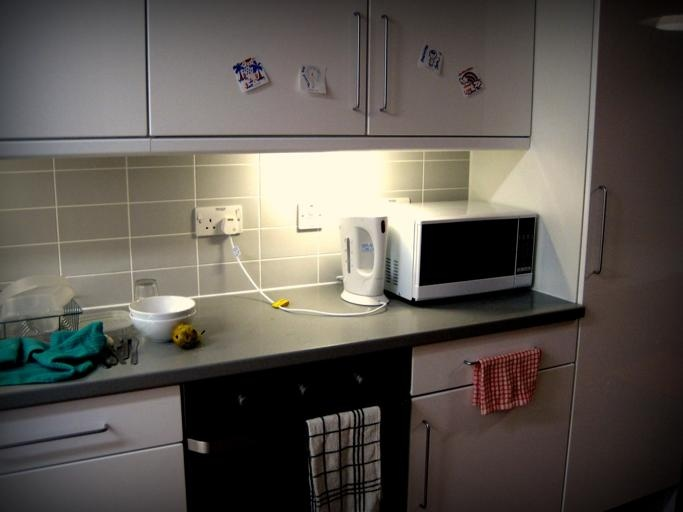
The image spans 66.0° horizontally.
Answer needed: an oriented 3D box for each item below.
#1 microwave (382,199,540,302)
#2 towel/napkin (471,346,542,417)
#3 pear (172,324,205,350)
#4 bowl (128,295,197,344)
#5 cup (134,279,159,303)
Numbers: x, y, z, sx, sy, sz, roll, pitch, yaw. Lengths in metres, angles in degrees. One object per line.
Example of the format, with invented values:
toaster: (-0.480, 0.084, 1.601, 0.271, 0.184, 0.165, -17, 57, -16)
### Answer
microwave: (0.469, -0.014, 2.066, 0.539, 0.359, 0.388, -6, 13, -27)
towel/napkin: (0.600, 0.456, 1.949, 0.237, 0.218, 0.069, -6, 17, -19)
pear: (-0.490, 0.247, 1.696, 0.088, 0.077, 0.070, -1, 20, -11)
bowl: (-0.594, 0.187, 1.755, 0.164, 0.104, 0.164, 3, 10, -1)
cup: (-0.703, 0.122, 1.901, 0.074, 0.077, 0.079, 1, 6, 0)
